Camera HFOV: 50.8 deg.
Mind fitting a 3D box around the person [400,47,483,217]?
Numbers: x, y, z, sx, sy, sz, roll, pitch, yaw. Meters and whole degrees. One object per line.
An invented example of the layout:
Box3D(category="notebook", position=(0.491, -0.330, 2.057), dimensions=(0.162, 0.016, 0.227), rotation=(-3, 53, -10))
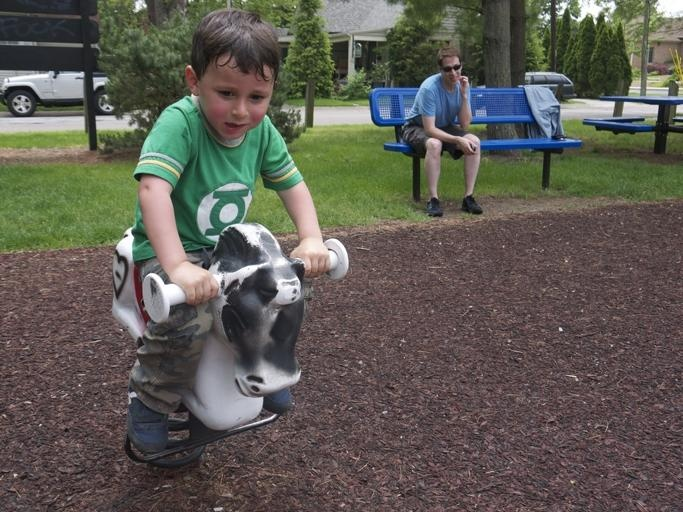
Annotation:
Box3D(category="person", position=(0.985, -1.219, 6.905), dimensions=(0.684, 1.536, 0.975), rotation=(-1, 15, -2))

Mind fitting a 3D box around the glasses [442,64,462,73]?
Box3D(category="glasses", position=(1.059, -1.773, 6.795), dimensions=(0.186, 0.080, 0.084), rotation=(-4, 15, -15))

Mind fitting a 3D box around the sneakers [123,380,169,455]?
Box3D(category="sneakers", position=(-0.742, 0.623, 2.764), dimensions=(0.114, 0.280, 0.127), rotation=(-26, 7, -26))

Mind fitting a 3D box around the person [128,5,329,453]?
Box3D(category="person", position=(-0.444, -0.066, 2.694), dimensions=(0.791, 1.644, 0.650), rotation=(-5, 15, -19))

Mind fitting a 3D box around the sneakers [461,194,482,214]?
Box3D(category="sneakers", position=(1.231, -0.482, 6.799), dimensions=(0.230, 0.158, 0.155), rotation=(8, 17, 30))

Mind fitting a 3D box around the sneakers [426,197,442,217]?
Box3D(category="sneakers", position=(0.874, -0.455, 6.695), dimensions=(0.148, 0.157, 0.193), rotation=(1, 14, 5))

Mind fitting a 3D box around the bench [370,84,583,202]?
Box3D(category="bench", position=(1.605, -1.324, 8.377), dimensions=(2.388, 1.113, 0.849), rotation=(6, 3, 37))
